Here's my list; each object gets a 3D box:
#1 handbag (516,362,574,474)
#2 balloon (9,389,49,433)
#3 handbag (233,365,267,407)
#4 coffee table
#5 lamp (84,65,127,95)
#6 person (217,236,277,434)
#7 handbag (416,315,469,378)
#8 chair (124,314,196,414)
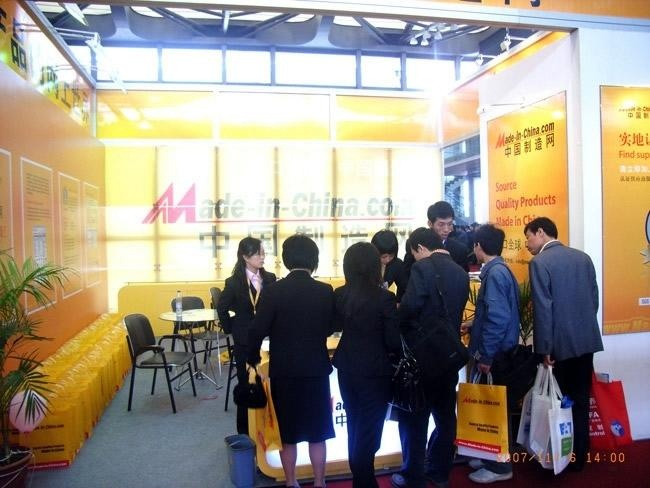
[{"bbox_3d":[1.775,1.402,4.157,0.370,0.641,0.338,-1,-1,-14],"label":"handbag"},{"bbox_3d":[-2.311,1.298,4.084,0.251,0.376,0.589,0,-2,-30],"label":"balloon"},{"bbox_3d":[-0.534,1.033,3.879,0.258,0.362,0.184,7,-5,-14],"label":"handbag"},{"bbox_3d":[-1.570,1.198,6.473,0.882,0.985,0.895,3,-4,-35],"label":"coffee table"},{"bbox_3d":[-3.412,-2.582,8.211,0.727,0.207,0.649,0,-5,-44],"label":"lamp"},{"bbox_3d":[-0.723,0.893,4.831,0.530,1.850,0.515,1,13,-22],"label":"person"},{"bbox_3d":[0.864,0.740,3.953,0.402,0.429,0.400,-5,1,21],"label":"handbag"},{"bbox_3d":[-1.823,1.267,5.832,0.667,0.997,0.584,-1,2,9],"label":"chair"}]
